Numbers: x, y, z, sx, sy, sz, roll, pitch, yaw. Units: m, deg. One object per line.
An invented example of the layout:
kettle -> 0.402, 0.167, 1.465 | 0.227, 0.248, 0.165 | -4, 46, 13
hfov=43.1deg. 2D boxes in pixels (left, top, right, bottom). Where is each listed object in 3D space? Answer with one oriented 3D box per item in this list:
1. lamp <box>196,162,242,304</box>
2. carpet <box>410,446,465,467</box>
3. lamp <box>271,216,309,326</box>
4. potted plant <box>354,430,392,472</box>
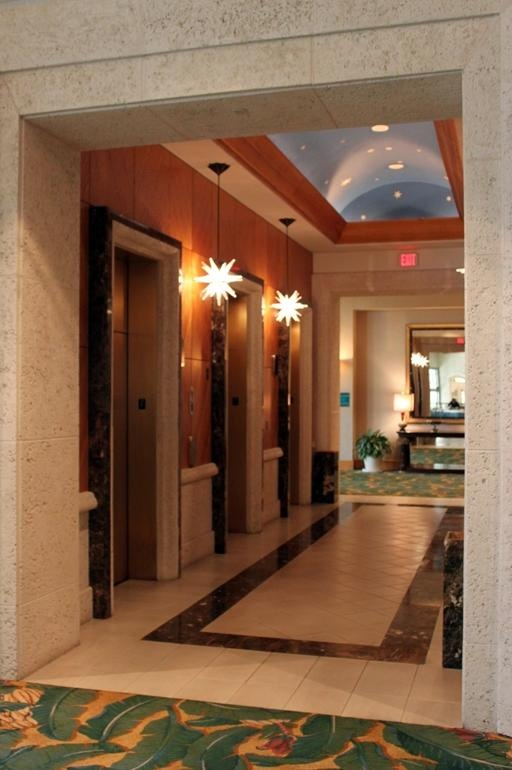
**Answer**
lamp -> -0.349, -1.301, 5.843 | 0.381, 1.181, 1.160 | 1, -6, -4
carpet -> 3.754, 1.491, 13.529 | 1.132, 0.301, 1.278 | 1, 2, 18
lamp -> 0.364, -1.381, 7.852 | 0.511, 1.249, 0.517 | 1, 6, 6
potted plant -> 2.372, 1.423, 13.737 | 0.732, 0.836, 0.800 | 1, -7, -3
